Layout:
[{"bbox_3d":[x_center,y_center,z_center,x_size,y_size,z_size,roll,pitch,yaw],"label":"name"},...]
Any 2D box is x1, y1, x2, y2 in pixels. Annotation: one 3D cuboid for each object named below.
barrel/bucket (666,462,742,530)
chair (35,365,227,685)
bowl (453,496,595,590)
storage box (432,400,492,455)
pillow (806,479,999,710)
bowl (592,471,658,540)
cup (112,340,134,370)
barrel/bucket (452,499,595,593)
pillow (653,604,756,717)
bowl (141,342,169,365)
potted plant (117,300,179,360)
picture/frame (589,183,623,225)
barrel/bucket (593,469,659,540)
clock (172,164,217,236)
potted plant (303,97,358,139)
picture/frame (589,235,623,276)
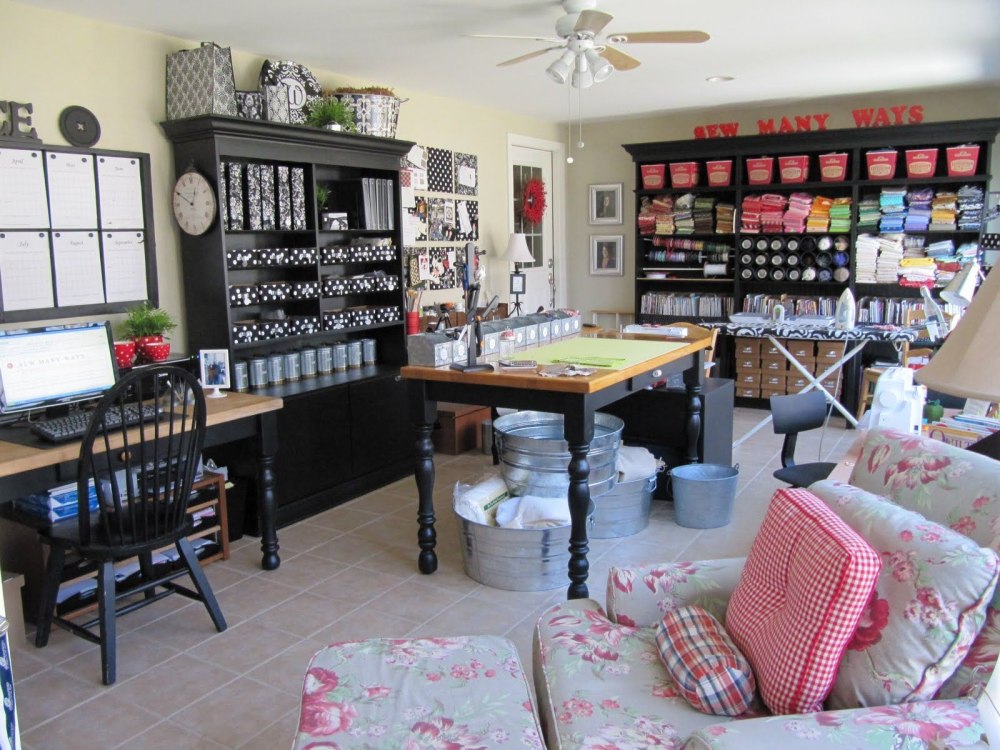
[{"bbox_3d":[1.226,0.733,4.190,0.395,0.264,0.378,-1,3,0],"label":"barrel/bucket"},{"bbox_3d":[-1.694,0.575,3.121,0.795,1.332,0.978,-7,15,-23],"label":"chair"},{"bbox_3d":[0.005,0.920,3.784,0.746,0.356,0.733,9,-22,4],"label":"bowl"},{"bbox_3d":[-0.282,0.422,5.629,0.374,0.429,0.692,1,3,28],"label":"storage box"},{"bbox_3d":[0.971,0.570,1.715,0.145,0.464,0.472,33,-10,-26],"label":"pillow"},{"bbox_3d":[0.697,0.790,4.239,0.504,0.301,0.468,-3,0,0],"label":"bowl"},{"bbox_3d":[-2.034,-0.105,3.825,0.145,0.156,0.142,3,3,0],"label":"cup"},{"bbox_3d":[0.072,0.867,3.565,0.443,0.206,0.416,0,4,0],"label":"barrel/bucket"},{"bbox_3d":[0.577,0.809,1.992,0.146,0.093,0.260,-6,10,-2],"label":"pillow"},{"bbox_3d":[-1.982,-0.135,4.013,0.133,0.146,0.103,-13,18,-40],"label":"bowl"},{"bbox_3d":[-1.998,-0.254,4.107,0.361,0.360,0.352,3,3,30],"label":"potted plant"},{"bbox_3d":[1.244,-1.988,8.047,0.500,0.539,0.041,4,10,27],"label":"picture/frame"},{"bbox_3d":[0.721,0.750,4.074,0.377,0.235,0.392,-1,7,0],"label":"barrel/bucket"},{"bbox_3d":[-1.833,-1.064,4.218,0.437,0.459,0.070,8,11,26],"label":"clock"},{"bbox_3d":[-1.144,-1.753,4.734,0.332,0.319,0.328,-2,9,-13],"label":"potted plant"},{"bbox_3d":[1.259,-1.412,8.146,0.491,0.510,0.054,4,10,28],"label":"picture/frame"}]
